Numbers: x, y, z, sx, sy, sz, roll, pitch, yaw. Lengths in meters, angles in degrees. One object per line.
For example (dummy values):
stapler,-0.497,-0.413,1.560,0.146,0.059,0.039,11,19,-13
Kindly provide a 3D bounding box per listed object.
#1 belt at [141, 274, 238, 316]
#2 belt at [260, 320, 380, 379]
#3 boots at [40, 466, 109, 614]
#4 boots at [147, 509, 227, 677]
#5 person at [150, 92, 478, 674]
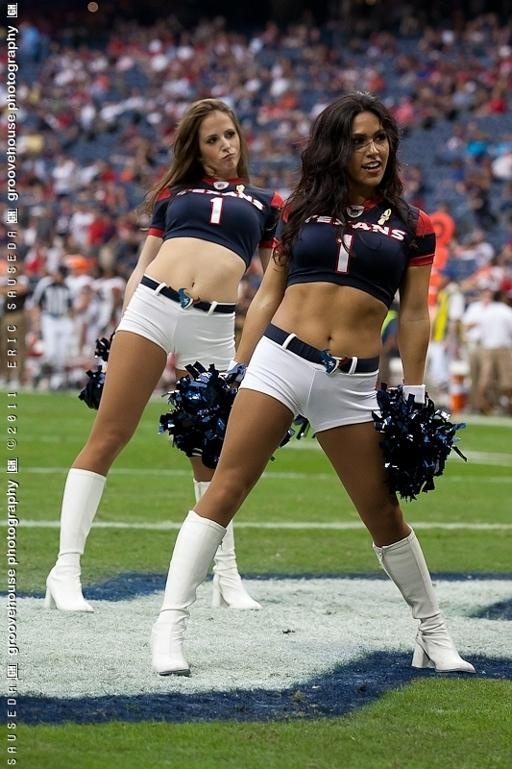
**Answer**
belt,-0.273,-0.367,3.291,0.204,0.061,0.197,16,-5,44
belt,0.172,-0.097,2.420,0.324,0.137,0.166,3,-2,4
boots,-0.654,0.551,3.133,0.169,0.342,0.270,5,-3,-12
boots,-0.195,0.571,2.412,0.174,0.437,0.195,5,-3,-5
person,0.221,-0.012,2.480,0.868,1.643,0.333,4,-3,4
